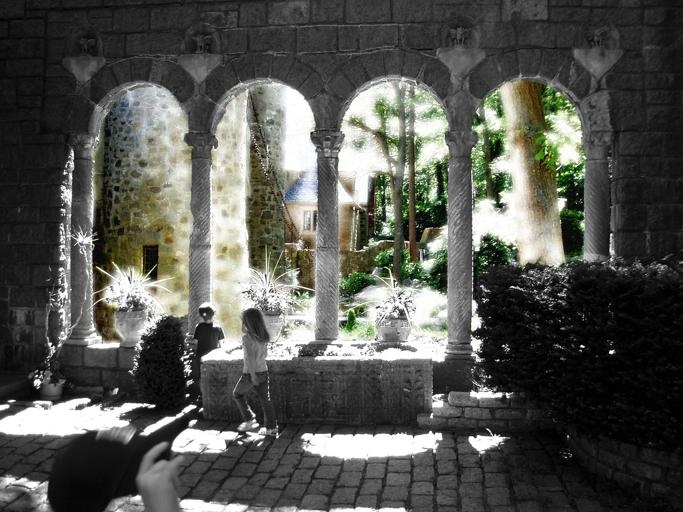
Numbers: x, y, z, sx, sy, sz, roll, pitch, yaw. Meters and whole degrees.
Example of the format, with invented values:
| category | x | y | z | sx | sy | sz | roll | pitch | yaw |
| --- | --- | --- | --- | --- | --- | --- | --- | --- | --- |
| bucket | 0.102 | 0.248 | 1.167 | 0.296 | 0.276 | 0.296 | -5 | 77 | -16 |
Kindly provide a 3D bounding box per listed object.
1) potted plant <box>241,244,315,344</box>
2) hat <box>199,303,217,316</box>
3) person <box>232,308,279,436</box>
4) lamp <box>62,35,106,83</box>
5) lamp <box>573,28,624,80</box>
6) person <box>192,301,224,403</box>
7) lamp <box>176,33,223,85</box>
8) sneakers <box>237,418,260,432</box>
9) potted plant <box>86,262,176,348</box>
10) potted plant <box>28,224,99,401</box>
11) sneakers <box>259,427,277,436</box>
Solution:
| category | x | y | z | sx | sy | sz | roll | pitch | yaw |
| --- | --- | --- | --- | --- | --- | --- | --- | --- | --- |
| potted plant | -0.943 | 0.681 | 9.122 | 0.678 | 0.869 | 0.666 | 0 | -4 | -22 |
| hat | -1.688 | 0.670 | 8.434 | 0.140 | 0.113 | 0.146 | 3 | -1 | 6 |
| person | -0.939 | 1.240 | 7.300 | 0.488 | 1.400 | 0.304 | 0 | 10 | 8 |
| lamp | -3.542 | -2.752 | 9.214 | 0.214 | 0.574 | 0.676 | -5 | 32 | 13 |
| lamp | 3.211 | -2.491 | 8.369 | 0.587 | 0.768 | 0.180 | 1 | -4 | 7 |
| person | -1.671 | 1.213 | 8.427 | 0.415 | 1.180 | 0.853 | -4 | 11 | -16 |
| lamp | -1.852 | -2.603 | 8.911 | 0.627 | 0.787 | 0.174 | 1 | -5 | 5 |
| sneakers | -1.024 | 1.881 | 7.478 | 0.262 | 0.125 | 0.099 | 0 | 8 | -31 |
| potted plant | -2.914 | 0.775 | 9.224 | 0.820 | 0.876 | 0.653 | 4 | -24 | 18 |
| potted plant | -3.675 | 0.814 | 9.246 | 0.816 | 2.613 | 0.875 | 15 | 11 | 24 |
| sneakers | -0.825 | 1.913 | 7.351 | 0.233 | 0.104 | 0.081 | 3 | 0 | 11 |
